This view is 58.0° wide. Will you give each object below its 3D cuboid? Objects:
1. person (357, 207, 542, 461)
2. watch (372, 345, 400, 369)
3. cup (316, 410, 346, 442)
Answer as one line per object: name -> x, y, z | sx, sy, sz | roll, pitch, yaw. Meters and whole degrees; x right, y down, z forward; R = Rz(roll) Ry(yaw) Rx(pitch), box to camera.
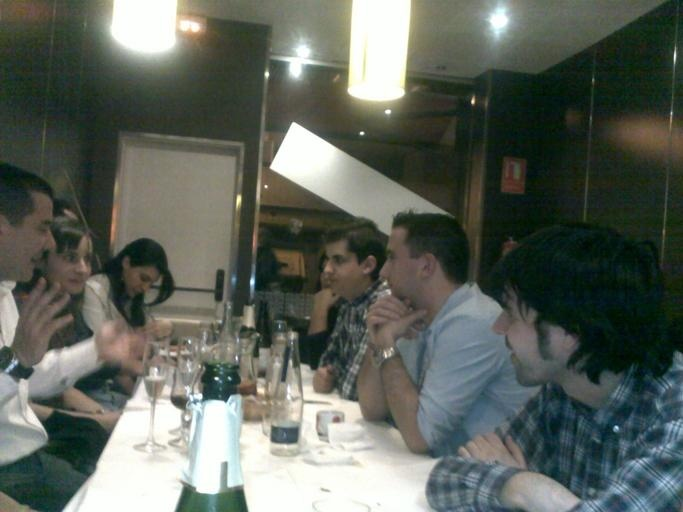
person -> 0.314, 0.265, 1.935 | 0.469, 0.404, 0.864 | 4, 38, -4
watch -> 0.140, 0.311, 1.924 | 0.075, 0.047, 0.071 | -26, -28, 8
cup -> -0.026, 0.481, 1.730 | 0.072, 0.060, 0.071 | 0, -8, 0
